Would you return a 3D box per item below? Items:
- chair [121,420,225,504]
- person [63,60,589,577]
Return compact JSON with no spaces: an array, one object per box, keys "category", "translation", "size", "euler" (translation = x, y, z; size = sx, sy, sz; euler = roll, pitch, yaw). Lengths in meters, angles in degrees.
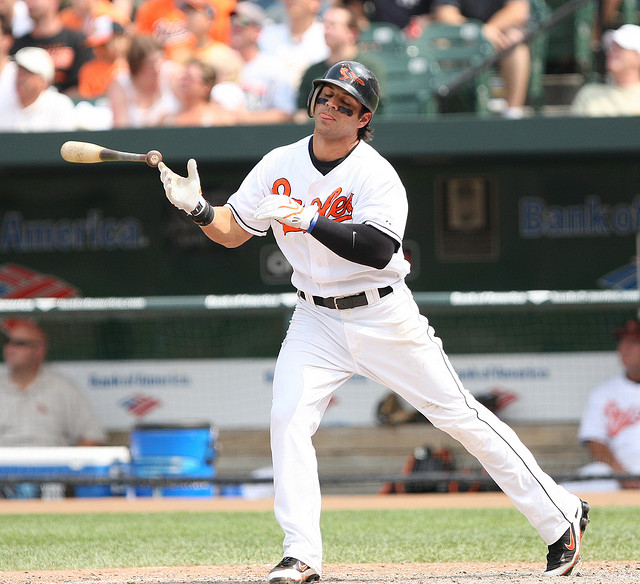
[{"category":"chair","translation":[-0.734,0.905,8.181],"size":[0.644,0.450,0.337],"euler":[-3,-5,19]},{"category":"person","translation":[0.160,0.151,6.908],"size":[1.682,2.323,0.587],"euler":[-7,6,-10]}]
